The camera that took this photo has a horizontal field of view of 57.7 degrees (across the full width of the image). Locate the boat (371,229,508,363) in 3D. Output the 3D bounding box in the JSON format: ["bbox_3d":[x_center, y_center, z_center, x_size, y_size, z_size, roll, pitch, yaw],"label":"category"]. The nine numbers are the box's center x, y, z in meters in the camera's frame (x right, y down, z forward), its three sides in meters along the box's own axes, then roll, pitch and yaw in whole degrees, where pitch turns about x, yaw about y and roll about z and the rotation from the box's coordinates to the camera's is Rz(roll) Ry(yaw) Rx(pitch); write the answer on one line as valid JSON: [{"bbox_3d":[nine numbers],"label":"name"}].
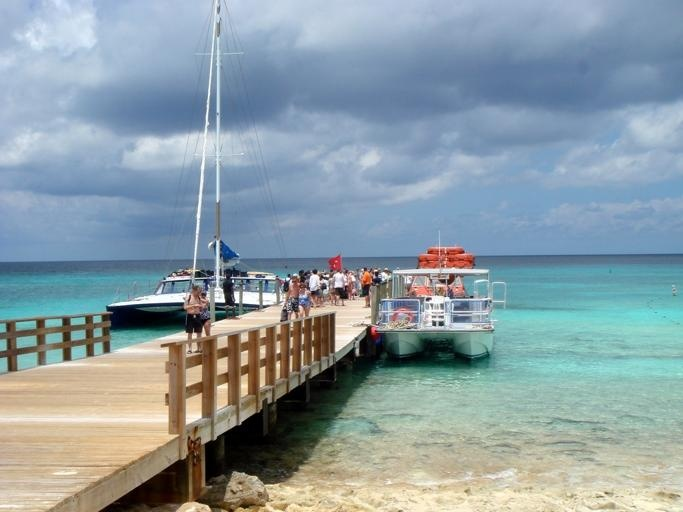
[{"bbox_3d":[3.731,1.956,25.622,4.462,3.639,7.249,-1,0,7],"label":"boat"}]

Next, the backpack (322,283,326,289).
[{"bbox_3d":[-0.935,1.525,31.828,0.315,0.284,0.073,-2,3,-25],"label":"backpack"}]
